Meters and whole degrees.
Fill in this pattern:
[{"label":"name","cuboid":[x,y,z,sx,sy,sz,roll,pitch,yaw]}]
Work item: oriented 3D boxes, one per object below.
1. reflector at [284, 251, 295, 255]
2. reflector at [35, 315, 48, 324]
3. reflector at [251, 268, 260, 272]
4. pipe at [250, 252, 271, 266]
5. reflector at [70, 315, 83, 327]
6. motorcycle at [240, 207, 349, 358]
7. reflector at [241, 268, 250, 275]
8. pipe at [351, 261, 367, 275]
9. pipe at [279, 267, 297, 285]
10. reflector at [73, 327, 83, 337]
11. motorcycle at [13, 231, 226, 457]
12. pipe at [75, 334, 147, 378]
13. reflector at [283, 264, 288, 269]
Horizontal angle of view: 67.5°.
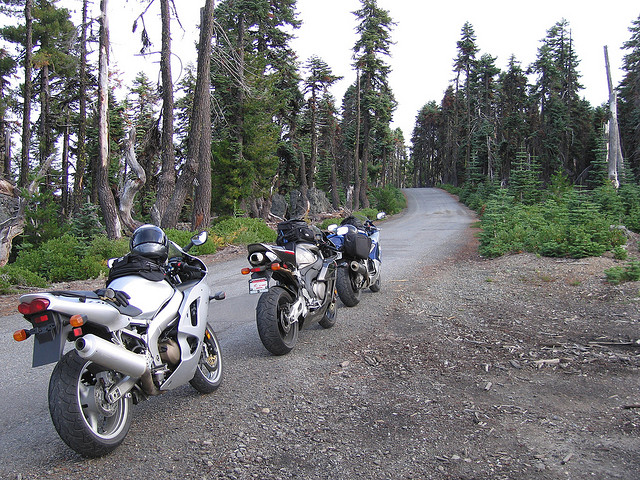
[{"label":"reflector","cuboid":[-0.459,0.184,7.191,0.185,0.077,0.014,-12,16,-41]},{"label":"reflector","cuboid":[-2.548,0.717,4.387,0.095,0.054,0.023,-15,15,-23]},{"label":"reflector","cuboid":[-0.939,0.429,6.975,0.155,0.072,0.042,7,15,36]},{"label":"pipe","cuboid":[-0.858,0.268,6.878,0.235,0.129,0.173,6,-1,-31]},{"label":"reflector","cuboid":[-2.262,0.745,4.460,0.094,0.105,0.174,-3,-8,-5]},{"label":"motorcycle","cuboid":[-0.406,0.692,7.552,0.726,1.936,1.866,5,14,28]},{"label":"reflector","cuboid":[-1.076,0.441,6.966,0.142,0.099,0.058,1,-16,-19]},{"label":"pipe","cuboid":[0.761,0.542,9.351,0.354,0.280,0.140,-13,17,-43]},{"label":"pipe","cuboid":[-0.473,0.504,7.122,0.055,0.406,0.071,-27,35,14]},{"label":"reflector","cuboid":[-2.305,0.868,4.544,0.090,0.094,0.047,-2,13,-4]},{"label":"motorcycle","cuboid":[-2.024,1.184,5.247,0.721,1.879,2.028,5,14,28]},{"label":"pipe","cuboid":[-2.014,1.184,4.838,0.898,0.276,0.246,41,7,-47]},{"label":"reflector","cuboid":[-0.517,0.382,7.096,0.057,0.072,0.132,2,4,11]}]
